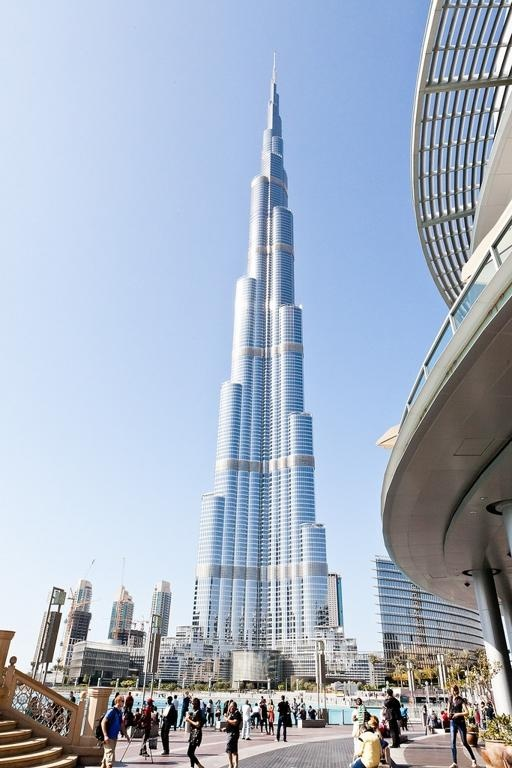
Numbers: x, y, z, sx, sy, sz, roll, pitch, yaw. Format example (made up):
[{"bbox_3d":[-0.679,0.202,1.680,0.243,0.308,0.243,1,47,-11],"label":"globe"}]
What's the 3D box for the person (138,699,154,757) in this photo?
[{"bbox_3d":[-3.110,9.710,12.883,0.309,1.328,0.364,7,-24,-18],"label":"person"}]
